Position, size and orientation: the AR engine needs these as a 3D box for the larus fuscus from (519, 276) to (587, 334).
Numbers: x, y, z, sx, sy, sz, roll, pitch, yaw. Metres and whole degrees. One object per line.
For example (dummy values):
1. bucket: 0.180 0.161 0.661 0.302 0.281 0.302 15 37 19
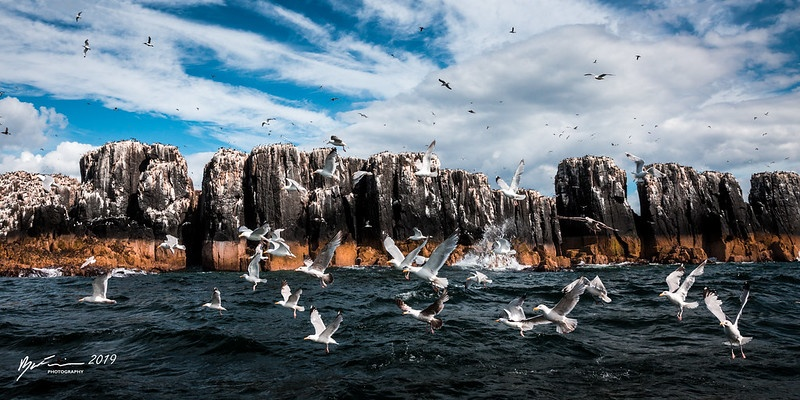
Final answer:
1. larus fuscus: 12.607 8.331 46.430 4.214 4.411 3.513 2 -10 -21

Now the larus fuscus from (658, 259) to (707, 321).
1. larus fuscus: 25.720 8.241 53.233 3.129 5.605 4.583 2 0 4

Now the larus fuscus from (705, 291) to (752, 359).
1. larus fuscus: 25.758 9.511 46.244 3.553 6.537 3.151 3 2 30
